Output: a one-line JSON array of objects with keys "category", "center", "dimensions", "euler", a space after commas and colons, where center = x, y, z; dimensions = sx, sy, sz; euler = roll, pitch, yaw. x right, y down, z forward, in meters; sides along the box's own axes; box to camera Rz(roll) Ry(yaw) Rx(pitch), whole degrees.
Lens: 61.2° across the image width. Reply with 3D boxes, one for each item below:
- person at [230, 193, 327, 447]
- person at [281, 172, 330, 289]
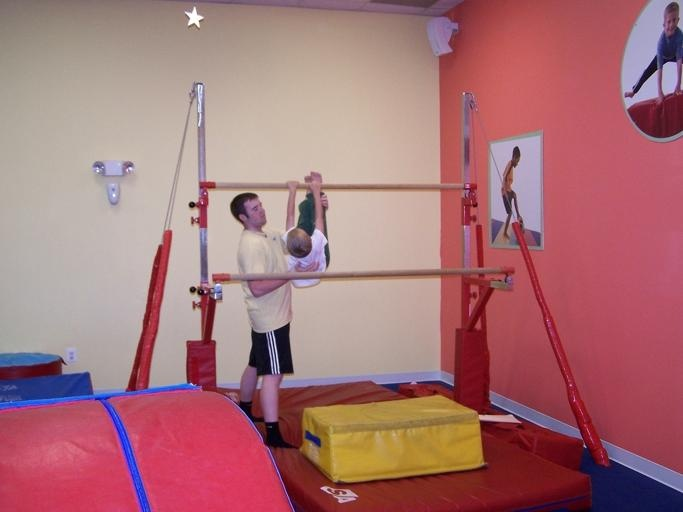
[{"category": "person", "center": [-0.522, 0.410, 3.885], "dimensions": [0.380, 1.692, 0.694], "euler": [-2, 3, -7]}, {"category": "person", "center": [-0.214, -0.173, 3.885], "dimensions": [0.348, 0.829, 0.300], "euler": [21, -26, -40]}]
